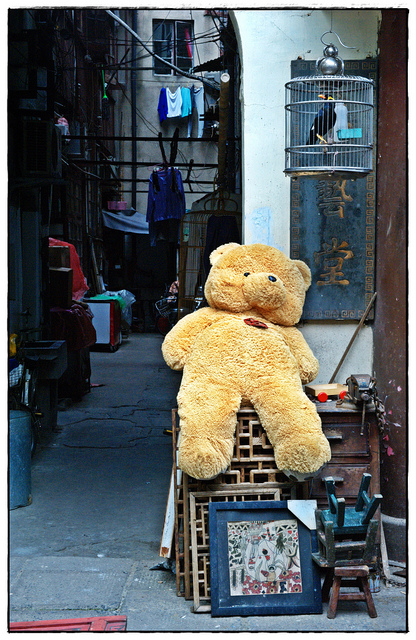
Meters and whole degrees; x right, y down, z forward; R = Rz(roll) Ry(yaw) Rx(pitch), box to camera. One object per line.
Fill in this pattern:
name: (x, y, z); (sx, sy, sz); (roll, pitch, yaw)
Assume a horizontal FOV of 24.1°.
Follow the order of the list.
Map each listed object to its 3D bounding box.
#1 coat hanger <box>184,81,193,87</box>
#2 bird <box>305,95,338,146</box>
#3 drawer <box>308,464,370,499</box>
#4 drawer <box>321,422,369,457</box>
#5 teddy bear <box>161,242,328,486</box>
coat hanger: (-0.418, -4.878, 20.236); (0.134, 0.123, 0.211); (-3, 9, -31)
bird: (0.654, -1.149, 5.576); (0.169, 0.295, 0.519); (2, 8, 6)
drawer: (0.767, 0.936, 5.745); (0.368, 0.202, 0.319); (-1, 7, -2)
drawer: (0.812, 0.679, 5.780); (0.291, 0.198, 0.314); (2, 3, -12)
teddy bear: (0.218, 0.168, 5.838); (0.913, 0.730, 1.832); (2, 36, -3)
